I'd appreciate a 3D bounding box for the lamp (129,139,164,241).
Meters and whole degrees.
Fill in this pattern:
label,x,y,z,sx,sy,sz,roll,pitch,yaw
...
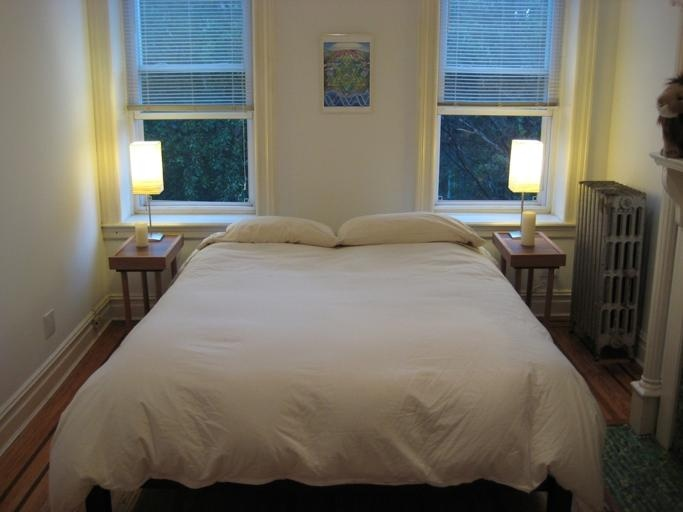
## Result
label,x,y,z,sx,sy,sz,roll,pitch,yaw
lamp,-1.432,-0.497,4.230,0.224,0.699,0.530,-7,14,-18

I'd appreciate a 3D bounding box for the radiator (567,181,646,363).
label,x,y,z,sx,sy,sz,roll,pitch,yaw
radiator,1.859,0.083,3.961,0.381,1.141,0.516,0,13,8

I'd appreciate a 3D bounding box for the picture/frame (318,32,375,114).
label,x,y,z,sx,sy,sz,roll,pitch,yaw
picture/frame,0.044,-1.415,4.299,0.512,0.754,0.037,0,9,-1

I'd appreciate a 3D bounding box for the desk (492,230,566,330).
label,x,y,z,sx,sy,sz,roll,pitch,yaw
desk,1.358,0.157,3.959,0.209,0.381,0.382,8,11,-36

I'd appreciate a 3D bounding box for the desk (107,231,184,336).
label,x,y,z,sx,sy,sz,roll,pitch,yaw
desk,-1.392,0.229,4.073,0.309,0.537,0.572,-1,7,-6
